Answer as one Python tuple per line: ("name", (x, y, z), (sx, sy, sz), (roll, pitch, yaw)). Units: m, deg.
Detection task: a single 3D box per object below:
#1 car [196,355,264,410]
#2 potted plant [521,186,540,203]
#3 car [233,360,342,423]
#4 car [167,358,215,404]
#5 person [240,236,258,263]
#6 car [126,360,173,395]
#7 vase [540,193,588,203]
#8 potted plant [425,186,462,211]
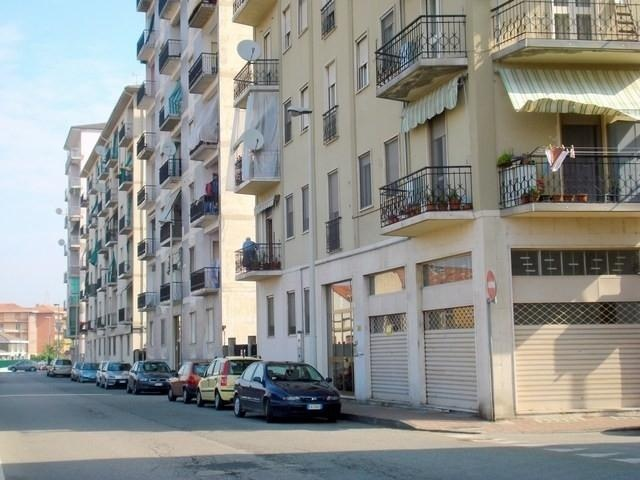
("car", (-3.209, 4.812, 33.294), (1.267, 1.324, 2.553), (2, -4, -22))
("potted plant", (5.665, -1.141, 26.204), (0.312, 0.459, 0.598), (0, -2, -13))
("car", (-1.176, 4.304, 28.076), (1.433, 1.138, 2.983), (4, -12, -22))
("car", (-4.916, 5.441, 37.716), (1.049, 1.107, 2.191), (2, -4, -23))
("person", (-2.821, 0.538, 39.836), (0.370, 1.123, 1.161), (5, -14, -23))
("car", (-7.917, 6.283, 44.817), (1.255, 1.049, 2.688), (3, -14, -18))
("vase", (6.571, -1.104, 26.310), (1.305, 0.314, 0.314), (0, -13, -5))
("potted plant", (3.496, -1.133, 27.626), (0.643, 0.537, 0.756), (2, -13, -6))
